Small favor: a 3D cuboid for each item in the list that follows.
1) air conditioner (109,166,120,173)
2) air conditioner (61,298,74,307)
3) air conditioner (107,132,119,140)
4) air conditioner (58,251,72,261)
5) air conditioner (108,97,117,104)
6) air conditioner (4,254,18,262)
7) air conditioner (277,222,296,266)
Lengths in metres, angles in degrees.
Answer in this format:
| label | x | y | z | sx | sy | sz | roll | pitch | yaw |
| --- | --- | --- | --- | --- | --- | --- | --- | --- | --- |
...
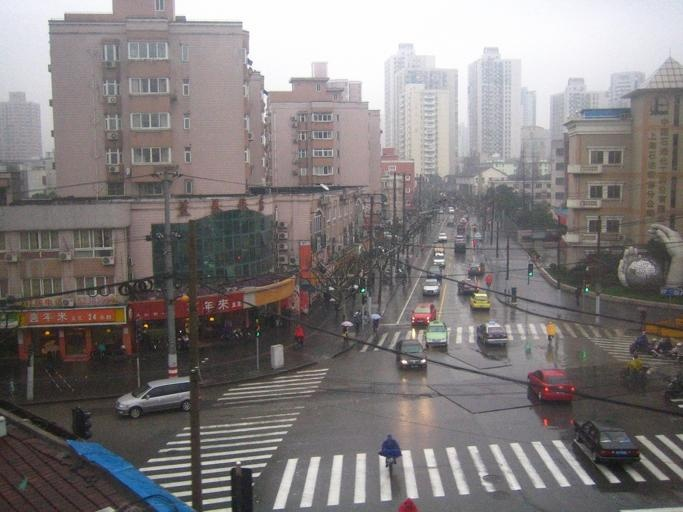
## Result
| label | x | y | z | sx | sy | sz | roll | pitch | yaw |
| --- | --- | --- | --- | --- | --- | --- | --- | --- | --- |
| air conditioner | -18.119 | -6.955 | 67.824 | 0.874 | 0.499 | 0.599 | 2 | -11 | -12 |
| air conditioner | -17.665 | 3.000 | 54.947 | 0.781 | 0.629 | 0.470 | 3 | 5 | 2 |
| air conditioner | -18.275 | -9.647 | 68.115 | 1.007 | 0.589 | 0.729 | 1 | 5 | 2 |
| air conditioner | -17.925 | -0.001 | 55.149 | 0.851 | 0.678 | 0.514 | 2 | 6 | 7 |
| air conditioner | -18.268 | -12.447 | 67.584 | 0.770 | 0.555 | 0.424 | 0 | 2 | -7 |
| air conditioner | -21.247 | 0.125 | 54.694 | 0.770 | 0.593 | 0.443 | 1 | -1 | -4 |
| air conditioner | -4.488 | -0.908 | 69.053 | 1.610 | 3.832 | 0.854 | -8 | 12 | -34 |
